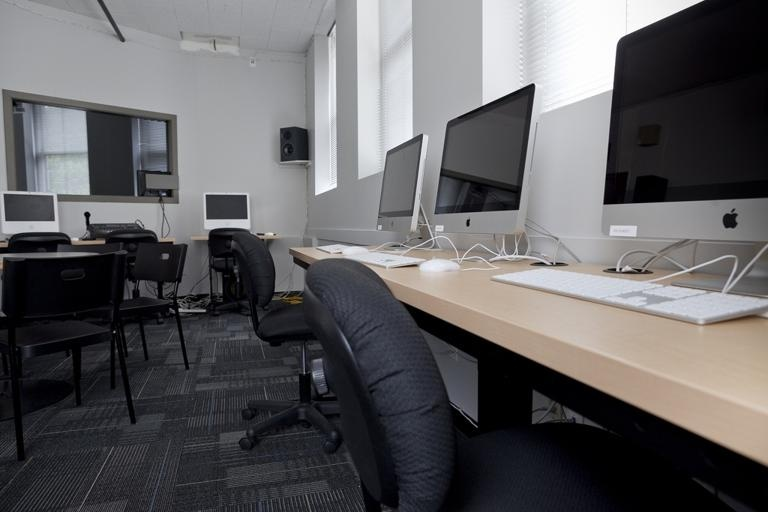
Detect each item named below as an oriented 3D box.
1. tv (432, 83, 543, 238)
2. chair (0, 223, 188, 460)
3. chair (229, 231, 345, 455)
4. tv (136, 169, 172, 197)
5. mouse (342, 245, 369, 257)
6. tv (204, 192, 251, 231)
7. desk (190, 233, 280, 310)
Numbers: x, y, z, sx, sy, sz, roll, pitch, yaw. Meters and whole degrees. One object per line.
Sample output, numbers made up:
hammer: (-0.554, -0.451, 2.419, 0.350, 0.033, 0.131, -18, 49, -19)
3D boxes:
tv: (0.456, -0.392, 2.279, 0.156, 0.619, 0.704, 1, 6, -21)
chair: (-1.851, 0.396, 3.002, 0.921, 1.000, 1.443, 0, 12, -1)
chair: (-0.452, 0.428, 2.791, 0.793, 1.089, 0.752, -1, 0, -7)
tv: (-2.615, -0.825, 5.658, 0.401, 0.299, 0.462, -7, 13, -29)
mouse: (-0.151, -0.026, 2.585, 0.070, 0.033, 0.105, -1, -3, 31)
tv: (-1.853, -0.517, 5.771, 0.565, 0.492, 0.135, 2, -2, -20)
desk: (-1.720, 0.111, 5.529, 0.887, 0.854, 0.786, -8, 6, -28)
